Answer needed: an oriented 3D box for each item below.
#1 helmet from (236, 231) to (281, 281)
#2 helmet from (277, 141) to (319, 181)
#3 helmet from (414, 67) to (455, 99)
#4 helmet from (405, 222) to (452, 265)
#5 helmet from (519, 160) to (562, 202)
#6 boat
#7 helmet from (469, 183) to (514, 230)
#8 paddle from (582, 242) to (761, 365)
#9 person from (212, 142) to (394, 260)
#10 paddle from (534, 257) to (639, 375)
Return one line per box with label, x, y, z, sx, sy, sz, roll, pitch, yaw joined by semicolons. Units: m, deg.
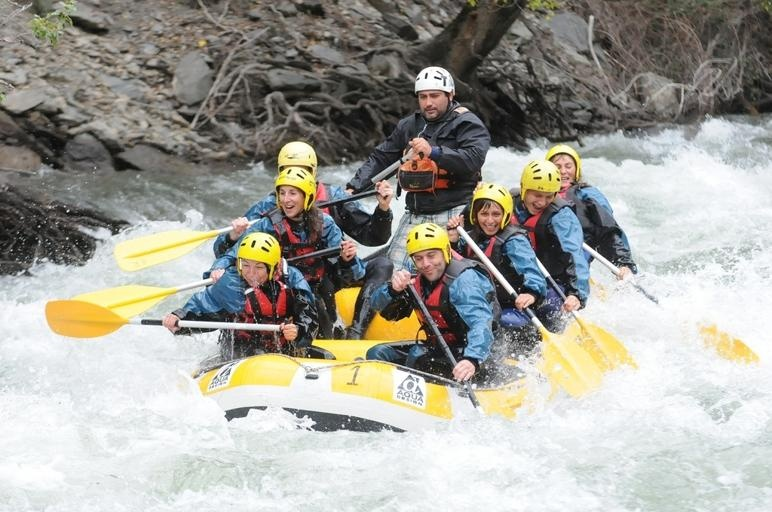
helmet;-1.248;-0.002;7.815;0.420;0.373;0.339;17;52;6
helmet;-1.012;-1.012;8.905;0.498;0.506;0.573;0;17;-16
helmet;0.541;-1.883;8.666;0.329;0.405;0.295;-3;71;17
helmet;0.407;-0.144;7.807;0.354;0.436;0.340;-8;42;28
helmet;1.719;-0.805;8.828;0.495;0.507;0.597;0;1;-21
boat;0.288;1.037;7.505;2.806;0.430;1.535;5;10;-18
helmet;1.204;-0.522;8.543;0.427;0.536;0.412;1;79;22
paddle;3.316;0.598;9.211;2.304;0.152;0.258;37;91;33
person;-0.623;-0.567;8.454;1.412;0.620;1.710;0;10;0
paddle;2.143;0.681;8.536;0.209;1.057;1.008;-45;26;17
